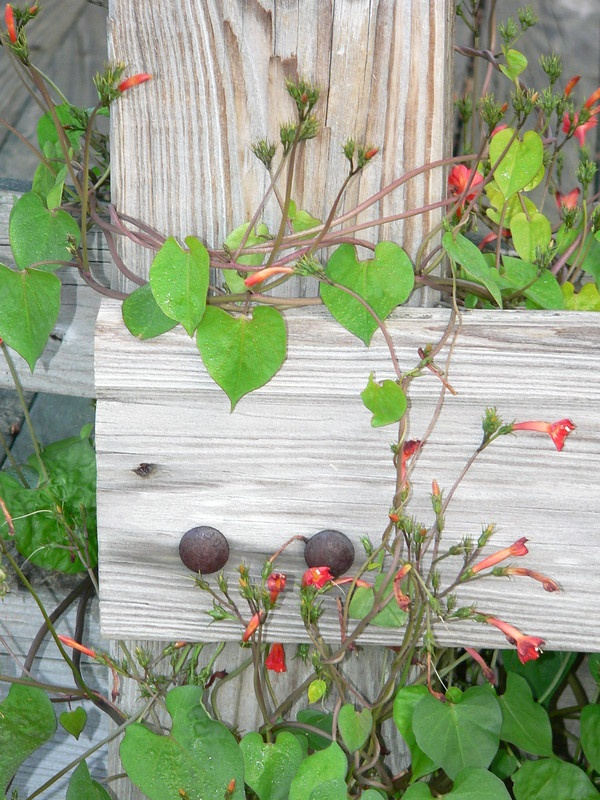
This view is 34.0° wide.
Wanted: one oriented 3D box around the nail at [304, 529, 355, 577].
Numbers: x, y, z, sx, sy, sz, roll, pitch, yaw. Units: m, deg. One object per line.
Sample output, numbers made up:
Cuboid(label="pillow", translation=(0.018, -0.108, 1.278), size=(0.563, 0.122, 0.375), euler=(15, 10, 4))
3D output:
Cuboid(label="nail", translation=(0.029, 0.154, 0.971), size=(0.050, 0.047, 0.043), euler=(2, 29, 1))
